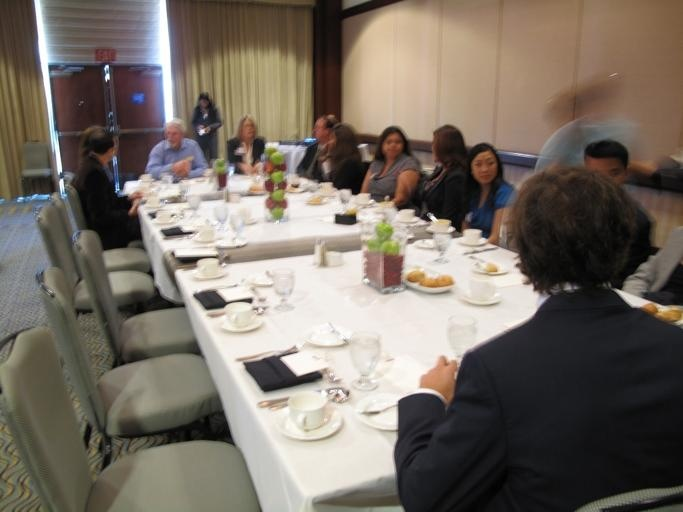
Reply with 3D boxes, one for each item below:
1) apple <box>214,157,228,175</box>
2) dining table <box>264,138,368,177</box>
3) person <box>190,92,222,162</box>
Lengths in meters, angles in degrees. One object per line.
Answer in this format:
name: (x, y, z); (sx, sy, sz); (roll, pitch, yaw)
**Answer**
apple: (-1.065, -0.793, 4.124); (0.125, 0.154, 0.134); (6, 21, 7)
dining table: (-0.552, -1.542, 6.862); (1.109, 0.449, 1.117); (-13, 22, -29)
person: (-2.377, -2.092, 8.256); (0.442, 1.392, 0.437); (1, 15, 2)
